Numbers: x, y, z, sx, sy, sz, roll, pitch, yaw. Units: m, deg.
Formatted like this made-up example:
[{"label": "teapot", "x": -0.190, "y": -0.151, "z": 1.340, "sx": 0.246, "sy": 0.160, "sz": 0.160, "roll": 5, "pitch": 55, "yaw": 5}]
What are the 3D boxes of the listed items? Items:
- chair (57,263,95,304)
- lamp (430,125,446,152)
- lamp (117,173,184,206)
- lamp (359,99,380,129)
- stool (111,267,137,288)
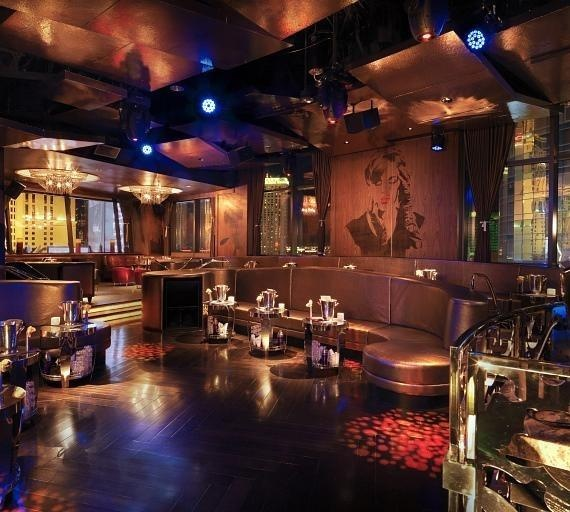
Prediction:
[{"label": "chair", "x": -3.218, "y": 0.394, "z": 7.220, "sx": 0.394, "sy": 0.703, "sz": 0.737, "roll": 0, "pitch": -1, "yaw": 19}, {"label": "lamp", "x": 2.309, "y": -1.784, "z": 7.074, "sx": 0.204, "sy": 0.358, "sz": 0.379, "roll": 2, "pitch": 7, "yaw": 17}, {"label": "lamp", "x": -3.119, "y": -1.557, "z": 11.287, "sx": 1.293, "sy": 0.520, "sz": 1.919, "roll": -4, "pitch": 8, "yaw": -33}, {"label": "lamp", "x": 1.091, "y": -1.762, "z": 5.951, "sx": 0.152, "sy": 0.252, "sz": 0.218, "roll": -6, "pitch": 9, "yaw": -37}, {"label": "stool", "x": -4.065, "y": 0.501, "z": 12.132, "sx": 0.567, "sy": 0.524, "sz": 0.539, "roll": 0, "pitch": 5, "yaw": 7}]
